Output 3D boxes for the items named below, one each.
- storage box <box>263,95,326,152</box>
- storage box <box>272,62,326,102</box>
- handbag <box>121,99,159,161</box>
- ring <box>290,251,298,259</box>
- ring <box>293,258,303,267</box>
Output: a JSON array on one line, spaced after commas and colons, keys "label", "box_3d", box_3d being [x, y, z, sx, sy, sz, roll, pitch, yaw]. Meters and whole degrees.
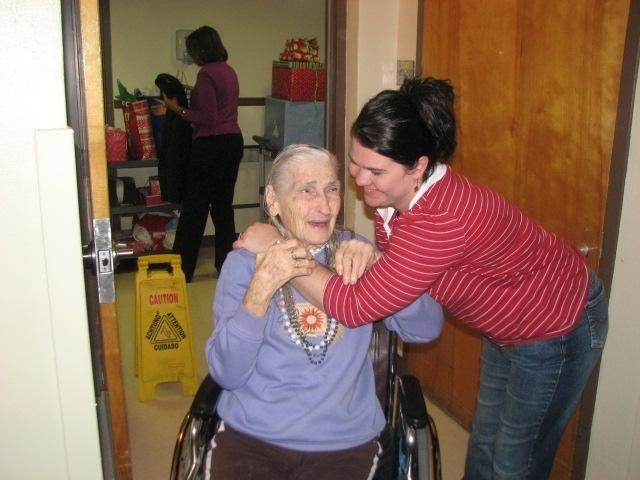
[{"label": "storage box", "box_3d": [-0.225, -1.074, 4.967, 0.402, 0.503, 0.785, 2, 19, -10]}, {"label": "storage box", "box_3d": [-0.169, -1.409, 4.665, 0.558, 0.283, 0.583, 13, 22, 26]}, {"label": "handbag", "box_3d": [-1.588, -0.983, 4.653, 0.184, 0.489, 0.405, -21, 27, -36]}, {"label": "ring", "box_3d": [-0.082, 0.046, 1.614, 0.014, 0.024, 0.006, -2, 11, 0]}, {"label": "ring", "box_3d": [-0.070, 0.067, 1.621, 0.026, 0.027, 0.009, 0, 1, -12]}]
